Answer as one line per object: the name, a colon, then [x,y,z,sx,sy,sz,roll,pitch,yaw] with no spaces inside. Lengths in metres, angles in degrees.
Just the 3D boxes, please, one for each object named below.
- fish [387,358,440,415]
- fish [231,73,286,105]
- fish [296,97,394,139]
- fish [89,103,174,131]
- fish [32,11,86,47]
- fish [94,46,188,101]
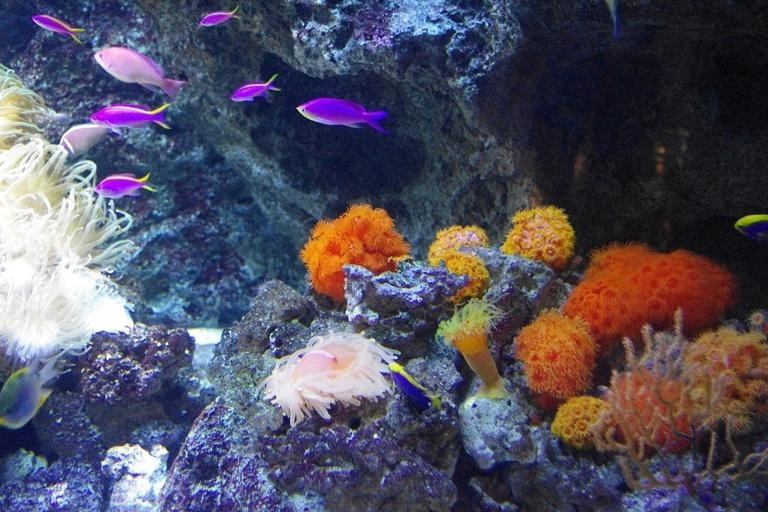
fish: [0.222,1.011,6.107,0.424,0.397,0.181,4,34,19]
fish: [-1.171,-1.567,7.205,0.601,0.253,0.131,-18,13,-7]
fish: [-0.319,-1.271,7.102,0.775,0.153,0.299,10,64,2]
fish: [-2.329,-1.270,7.042,0.681,0.280,0.168,0,48,-5]
fish: [-3.062,-2.157,7.353,0.513,0.193,0.117,19,71,-15]
fish: [-2.209,-1.678,7.107,0.761,0.332,0.177,21,25,-18]
